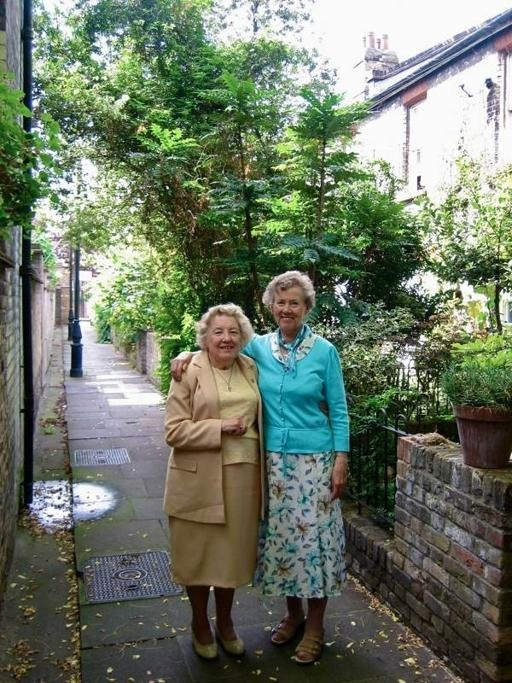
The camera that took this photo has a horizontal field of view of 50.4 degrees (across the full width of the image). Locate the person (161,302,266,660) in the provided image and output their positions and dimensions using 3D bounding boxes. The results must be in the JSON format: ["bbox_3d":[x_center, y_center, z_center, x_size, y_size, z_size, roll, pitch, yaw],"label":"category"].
[{"bbox_3d":[-0.182,0.625,2.427,0.439,1.588,0.352,2,1,-7],"label":"person"}]

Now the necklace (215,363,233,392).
[{"bbox_3d":[-0.141,0.166,2.411,0.098,0.114,0.066,8,-35,-19],"label":"necklace"}]

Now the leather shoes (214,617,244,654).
[{"bbox_3d":[-0.121,1.372,2.539,0.069,0.071,0.182,2,-1,-26],"label":"leather shoes"}]

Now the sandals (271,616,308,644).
[{"bbox_3d":[0.160,1.403,2.661,0.074,0.062,0.187,-5,-10,32],"label":"sandals"}]
